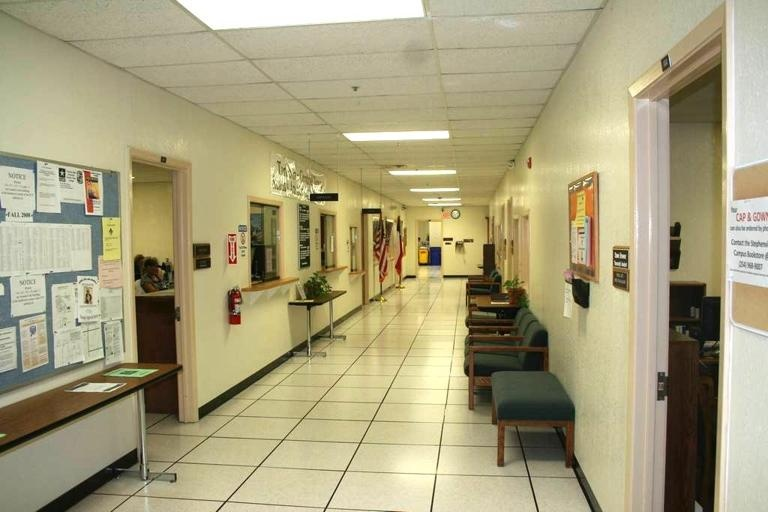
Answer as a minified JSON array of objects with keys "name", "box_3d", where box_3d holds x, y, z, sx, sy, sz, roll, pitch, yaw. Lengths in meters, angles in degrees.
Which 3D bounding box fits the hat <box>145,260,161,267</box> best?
[{"name":"hat","box_3d":[-3.436,0.106,7.764,0.110,0.130,0.131,4,3,40]}]

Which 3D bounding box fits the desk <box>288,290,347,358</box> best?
[{"name":"desk","box_3d":[-1.064,1.066,8.852,0.601,0.928,1.806,0,5,8]}]

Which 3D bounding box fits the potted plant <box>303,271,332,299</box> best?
[{"name":"potted plant","box_3d":[-1.132,0.493,8.819,0.376,0.304,0.427,3,2,5]}]

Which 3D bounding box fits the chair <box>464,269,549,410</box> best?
[{"name":"chair","box_3d":[1.370,0.929,6.000,0.874,0.695,1.574,0,0,9]}]

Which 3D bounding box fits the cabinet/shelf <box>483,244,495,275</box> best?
[{"name":"cabinet/shelf","box_3d":[2.981,0.103,14.934,0.316,0.909,0.954,0,-1,10]}]

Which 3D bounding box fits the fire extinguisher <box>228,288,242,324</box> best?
[{"name":"fire extinguisher","box_3d":[-1.820,0.616,6.351,0.152,0.457,0.166,-2,6,-17]}]

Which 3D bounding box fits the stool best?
[{"name":"stool","box_3d":[1.361,1.353,4.847,0.642,0.507,1.056,-1,4,5]}]
